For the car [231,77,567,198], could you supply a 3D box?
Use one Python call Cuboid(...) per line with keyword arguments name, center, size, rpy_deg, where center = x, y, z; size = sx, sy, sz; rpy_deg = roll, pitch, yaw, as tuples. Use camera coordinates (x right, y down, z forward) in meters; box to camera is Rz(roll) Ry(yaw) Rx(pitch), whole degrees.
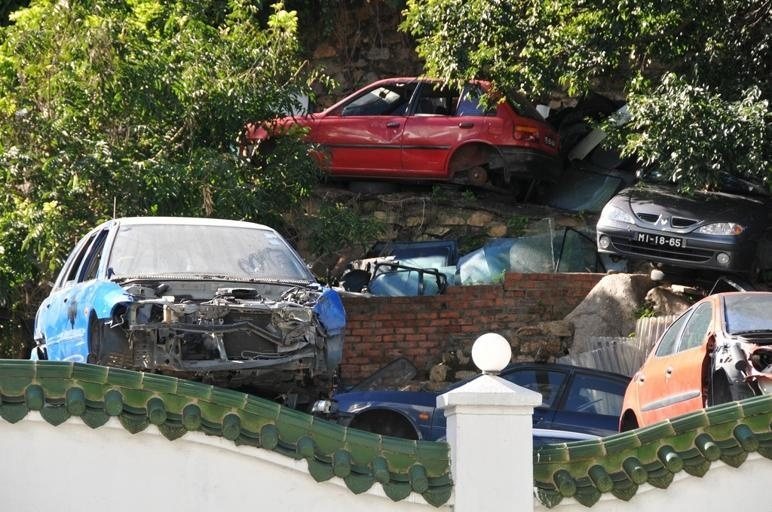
Cuboid(name="car", center=(0.621, -2.579, 33.589), size=(4.622, 1.738, 2.252), rpy_deg=(8, 0, 12))
